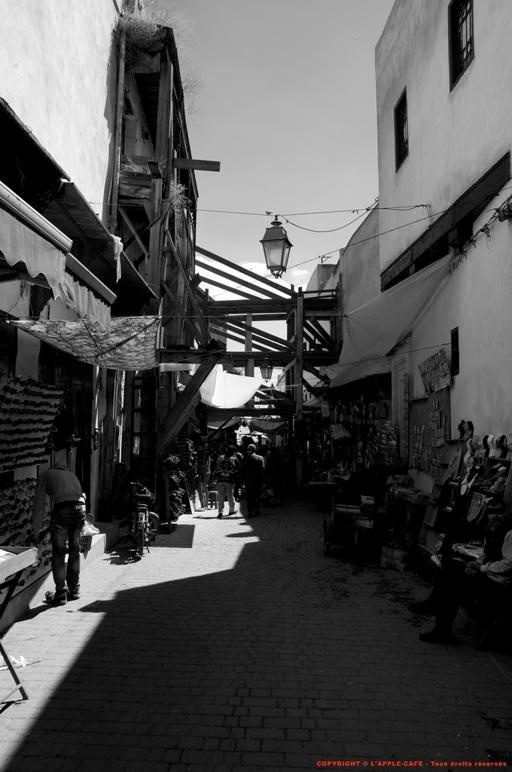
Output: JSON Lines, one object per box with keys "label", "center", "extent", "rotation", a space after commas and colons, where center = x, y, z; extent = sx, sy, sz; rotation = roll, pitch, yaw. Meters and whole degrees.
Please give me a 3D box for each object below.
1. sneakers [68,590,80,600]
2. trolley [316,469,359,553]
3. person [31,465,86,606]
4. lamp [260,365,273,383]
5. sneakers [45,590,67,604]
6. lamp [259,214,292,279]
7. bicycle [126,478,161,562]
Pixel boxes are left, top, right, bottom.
{"label": "sneakers", "center": [-1.742, 2.015, 5.737], "extent": [0.046, 0.069, 0.136], "rotation": [3, -4, -2]}
{"label": "trolley", "center": [1.253, 1.872, 8.668], "extent": [0.532, 1.125, 0.641], "rotation": [1, 7, -1]}
{"label": "person", "center": [-1.852, 1.398, 5.583], "extent": [0.350, 1.268, 0.920], "rotation": [0, -5, 11]}
{"label": "lamp", "center": [0.399, -0.467, 22.741], "extent": [0.411, 0.814, 0.566], "rotation": [0, -8, 0]}
{"label": "sneakers", "center": [-1.850, 1.972, 5.539], "extent": [0.186, 0.121, 0.223], "rotation": [4, -7, -27]}
{"label": "lamp", "center": [0.334, -2.281, 9.863], "extent": [0.465, 1.170, 0.867], "rotation": [0, -5, 4]}
{"label": "bicycle", "center": [-1.631, 1.739, 8.621], "extent": [0.434, 0.857, 1.195], "rotation": [2, 12, -8]}
